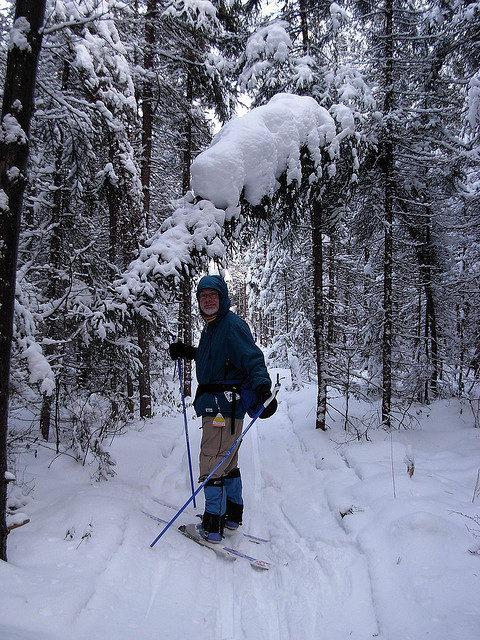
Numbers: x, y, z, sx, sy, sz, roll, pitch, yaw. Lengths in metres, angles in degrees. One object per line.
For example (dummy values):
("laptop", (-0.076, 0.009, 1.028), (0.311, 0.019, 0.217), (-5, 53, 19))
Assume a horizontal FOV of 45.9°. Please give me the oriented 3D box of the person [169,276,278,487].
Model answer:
("person", (-0.121, 0.714, 6.546), (0.960, 2.470, 0.652), (1, -4, 11))
